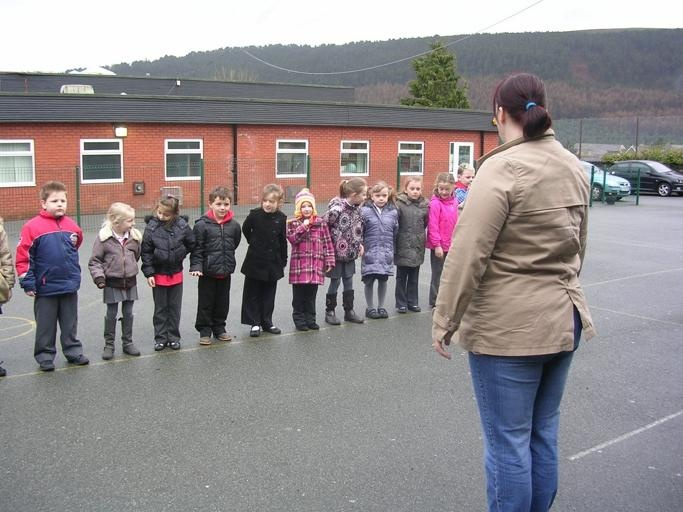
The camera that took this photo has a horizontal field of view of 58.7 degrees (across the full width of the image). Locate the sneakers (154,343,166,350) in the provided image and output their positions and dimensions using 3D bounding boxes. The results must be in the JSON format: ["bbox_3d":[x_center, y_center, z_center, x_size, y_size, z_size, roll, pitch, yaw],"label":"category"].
[{"bbox_3d":[-1.904,0.950,6.382,0.134,0.073,0.107,-4,12,-23],"label":"sneakers"}]

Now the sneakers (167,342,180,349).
[{"bbox_3d":[-1.781,0.959,6.446,0.060,0.056,0.114,-2,-1,-38],"label":"sneakers"}]

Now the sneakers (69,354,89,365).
[{"bbox_3d":[-2.554,1.027,5.948,0.209,0.106,0.085,-2,1,7],"label":"sneakers"}]

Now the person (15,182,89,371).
[{"bbox_3d":[-2.763,0.189,5.784,0.559,1.761,0.454,-4,11,-25],"label":"person"}]

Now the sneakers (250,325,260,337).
[{"bbox_3d":[-0.994,0.862,6.953,0.100,0.094,0.292,-2,-1,-6],"label":"sneakers"}]

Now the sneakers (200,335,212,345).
[{"bbox_3d":[-1.489,0.916,6.634,0.132,0.076,0.213,-2,12,-14],"label":"sneakers"}]

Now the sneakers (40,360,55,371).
[{"bbox_3d":[-2.782,1.036,5.728,0.132,0.093,0.126,-5,13,-26],"label":"sneakers"}]

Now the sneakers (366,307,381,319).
[{"bbox_3d":[0.400,0.740,7.711,0.085,0.092,0.201,-2,3,-31],"label":"sneakers"}]

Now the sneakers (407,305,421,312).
[{"bbox_3d":[0.953,0.700,8.047,0.184,0.088,0.066,0,6,1],"label":"sneakers"}]

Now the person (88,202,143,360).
[{"bbox_3d":[-2.277,0.240,6.179,0.497,1.533,0.459,-3,11,-20],"label":"person"}]

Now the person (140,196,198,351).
[{"bbox_3d":[-1.842,0.164,6.467,0.414,1.603,0.579,3,11,16],"label":"person"}]

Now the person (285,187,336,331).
[{"bbox_3d":[-0.371,0.041,7.218,0.578,1.637,0.405,-1,10,-6],"label":"person"}]

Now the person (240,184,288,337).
[{"bbox_3d":[-0.897,0.039,7.018,0.553,1.691,0.517,-2,10,-12],"label":"person"}]

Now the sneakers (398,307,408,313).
[{"bbox_3d":[0.788,0.711,7.947,0.067,0.063,0.197,0,0,2],"label":"sneakers"}]

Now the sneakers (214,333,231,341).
[{"bbox_3d":[-1.340,0.902,6.807,0.205,0.092,0.077,0,1,40],"label":"sneakers"}]

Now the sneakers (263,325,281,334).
[{"bbox_3d":[-0.808,0.853,7.061,0.194,0.085,0.080,2,4,37],"label":"sneakers"}]
